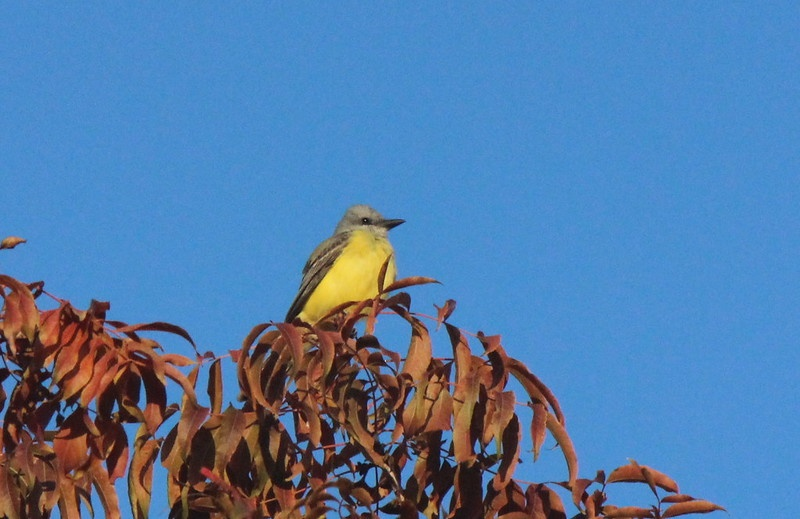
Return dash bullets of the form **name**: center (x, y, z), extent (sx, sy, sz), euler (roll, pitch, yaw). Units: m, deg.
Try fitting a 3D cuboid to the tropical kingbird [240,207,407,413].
- **tropical kingbird**: center (-0.461, 0.097, 11.231), extent (0.977, 0.932, 0.607), euler (-3, -11, 32)
